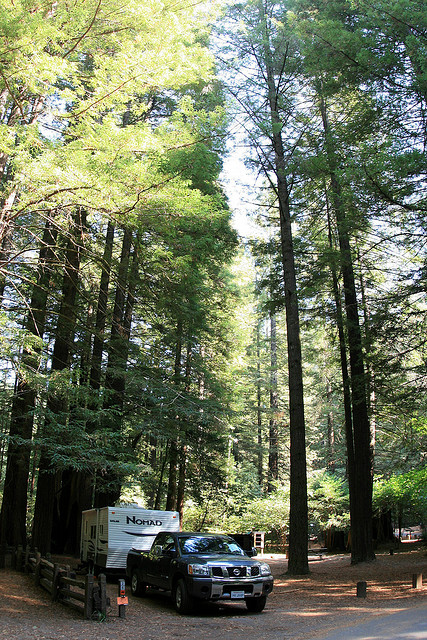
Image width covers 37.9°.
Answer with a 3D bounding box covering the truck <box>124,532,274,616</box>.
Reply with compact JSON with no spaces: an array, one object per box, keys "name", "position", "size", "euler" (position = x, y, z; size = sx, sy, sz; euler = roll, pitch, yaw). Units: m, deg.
[{"name":"truck","position":[-0.403,4.852,12.138],"size":[1.649,0.903,2.753],"euler":[13,-28,-21]}]
